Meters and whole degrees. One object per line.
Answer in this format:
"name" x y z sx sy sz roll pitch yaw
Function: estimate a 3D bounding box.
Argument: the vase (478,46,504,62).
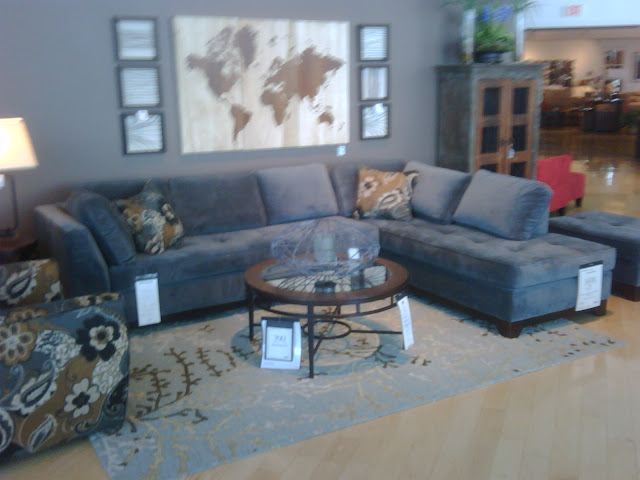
"vase" 1.766 -1.929 5.185 0.276 0.162 0.092 0 18 14

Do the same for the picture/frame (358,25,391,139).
"picture/frame" 0.545 -1.603 5.061 0.428 1.105 0.127 -13 20 -25

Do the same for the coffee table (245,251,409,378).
"coffee table" 0.115 0.309 3.143 0.829 0.362 0.806 2 14 11

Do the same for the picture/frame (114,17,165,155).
"picture/frame" -1.499 -1.288 4.164 0.420 1.087 0.189 -9 18 -14
